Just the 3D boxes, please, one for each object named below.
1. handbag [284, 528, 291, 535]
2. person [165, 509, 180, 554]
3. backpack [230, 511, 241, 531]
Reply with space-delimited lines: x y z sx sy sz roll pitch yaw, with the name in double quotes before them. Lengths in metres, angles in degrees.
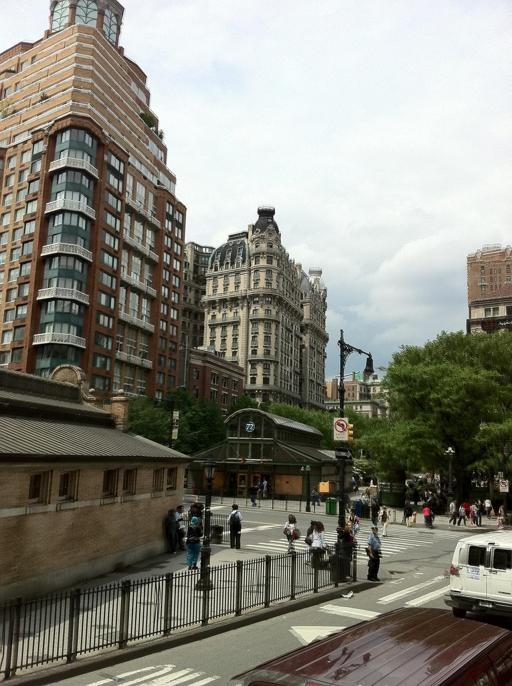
"handbag" 1.090 6.751 22.898 0.201 0.238 0.253 6 -25 -4
"person" -3.189 7.223 24.649 0.505 1.595 0.926 -6 -11 30
"backpack" -0.803 6.802 24.289 0.344 0.814 0.506 0 -10 3
